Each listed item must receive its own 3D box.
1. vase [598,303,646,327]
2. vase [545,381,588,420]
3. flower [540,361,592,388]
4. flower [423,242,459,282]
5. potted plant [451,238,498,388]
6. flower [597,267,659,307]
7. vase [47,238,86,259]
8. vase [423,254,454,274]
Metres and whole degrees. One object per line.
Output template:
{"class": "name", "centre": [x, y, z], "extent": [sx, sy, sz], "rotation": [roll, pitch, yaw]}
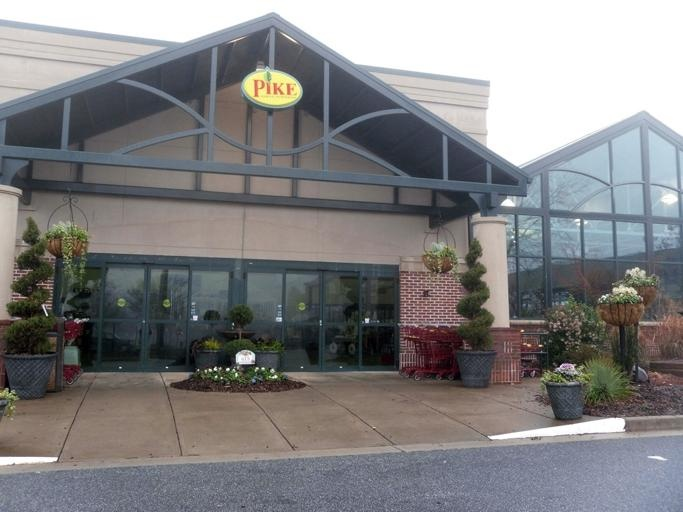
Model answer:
{"class": "vase", "centre": [6.020, 1.244, 12.615], "extent": [0.630, 0.353, 0.637], "rotation": [-3, -7, 6]}
{"class": "vase", "centre": [3.901, 2.519, 10.314], "extent": [0.647, 0.517, 0.657], "rotation": [-2, -11, 10]}
{"class": "flower", "centre": [3.967, 2.109, 10.397], "extent": [0.649, 0.324, 0.652], "rotation": [-2, -6, 5]}
{"class": "flower", "centre": [2.583, 0.157, 15.075], "extent": [0.928, 0.865, 0.922], "rotation": [1, -4, -25]}
{"class": "potted plant", "centre": [3.137, 1.299, 13.898], "extent": [1.061, 3.451, 0.988], "rotation": [0, 1, -18]}
{"class": "flower", "centre": [6.671, 0.744, 13.406], "extent": [1.250, 0.749, 1.452], "rotation": [0, -7, -9]}
{"class": "vase", "centre": [-5.777, -0.189, 12.351], "extent": [0.526, 0.275, 0.526], "rotation": [-2, 0, -23]}
{"class": "vase", "centre": [2.410, 0.210, 14.757], "extent": [0.523, 0.310, 0.532], "rotation": [-5, -9, 23]}
